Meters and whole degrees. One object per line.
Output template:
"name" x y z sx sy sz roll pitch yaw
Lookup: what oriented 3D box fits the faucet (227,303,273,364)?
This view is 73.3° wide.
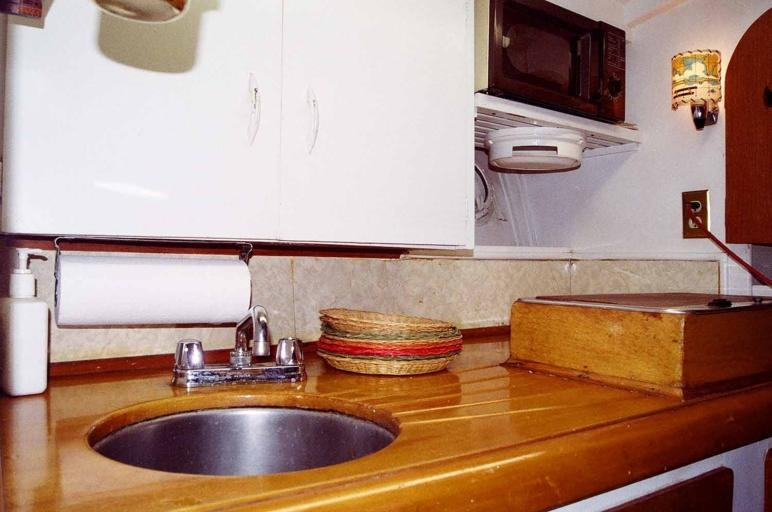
"faucet" -0.380 0.233 1.452 0.079 0.145 0.229 3 -18 -33

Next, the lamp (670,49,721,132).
"lamp" 1.196 -0.672 2.006 0.174 0.261 0.179 -16 10 -23

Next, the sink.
"sink" -0.310 0.457 1.250 0.654 0.209 0.212 -1 10 -5
